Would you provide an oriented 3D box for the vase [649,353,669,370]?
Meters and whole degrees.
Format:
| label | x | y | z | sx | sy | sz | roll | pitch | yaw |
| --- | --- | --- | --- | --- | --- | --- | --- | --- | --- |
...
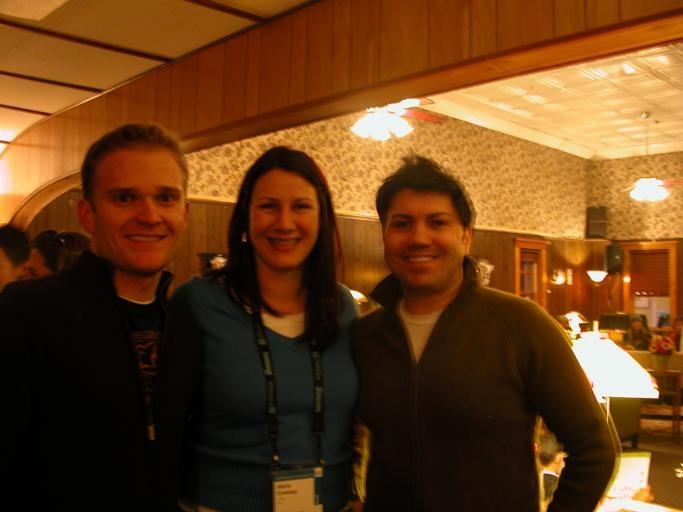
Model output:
| label | x | y | z | sx | sy | sz | roll | pitch | yaw |
| --- | --- | --- | --- | --- | --- | --- | --- | --- | --- |
| vase | 4.842 | 1.599 | 8.291 | 0.262 | 0.254 | 0.266 | 5 | -27 | 1 |

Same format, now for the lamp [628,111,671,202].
| label | x | y | z | sx | sy | sz | roll | pitch | yaw |
| --- | --- | --- | --- | --- | --- | --- | --- | --- | --- |
| lamp | 6.237 | -2.330 | 11.181 | 0.670 | 1.414 | 0.669 | 16 | -16 | -38 |

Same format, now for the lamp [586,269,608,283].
| label | x | y | z | sx | sy | sz | roll | pitch | yaw |
| --- | --- | --- | --- | --- | --- | --- | --- | --- | --- |
| lamp | 6.159 | 0.470 | 13.210 | 0.474 | 0.209 | 0.461 | 5 | -5 | -13 |
